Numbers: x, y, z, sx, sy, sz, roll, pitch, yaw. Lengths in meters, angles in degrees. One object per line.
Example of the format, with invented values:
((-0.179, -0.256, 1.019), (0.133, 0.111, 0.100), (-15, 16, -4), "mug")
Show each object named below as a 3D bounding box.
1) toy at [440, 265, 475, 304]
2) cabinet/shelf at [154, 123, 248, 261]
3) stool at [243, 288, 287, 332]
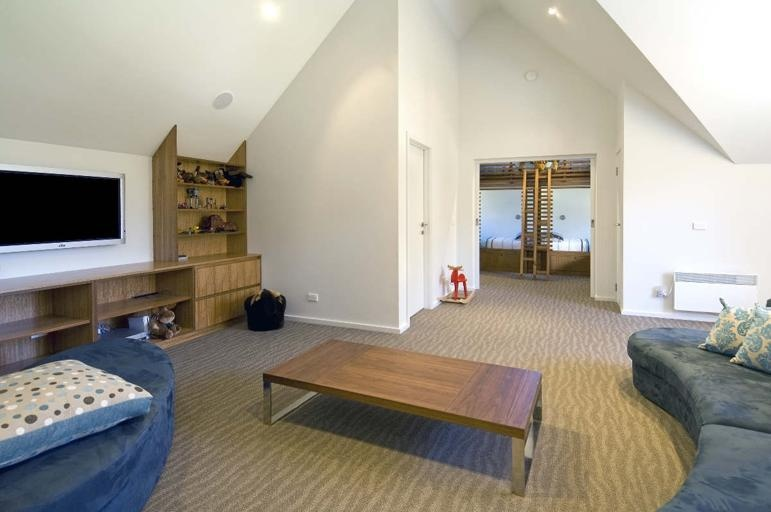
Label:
((1.168, 0.404, 7.619), (0.391, 0.546, 0.778), (-3, 14, 12), "toy")
((-2.449, -0.817, 6.269), (0.455, 1.683, 1.255), (5, 10, 35), "cabinet/shelf")
((-1.592, 0.667, 6.097), (0.474, 0.496, 0.496), (0, 3, 14), "stool")
